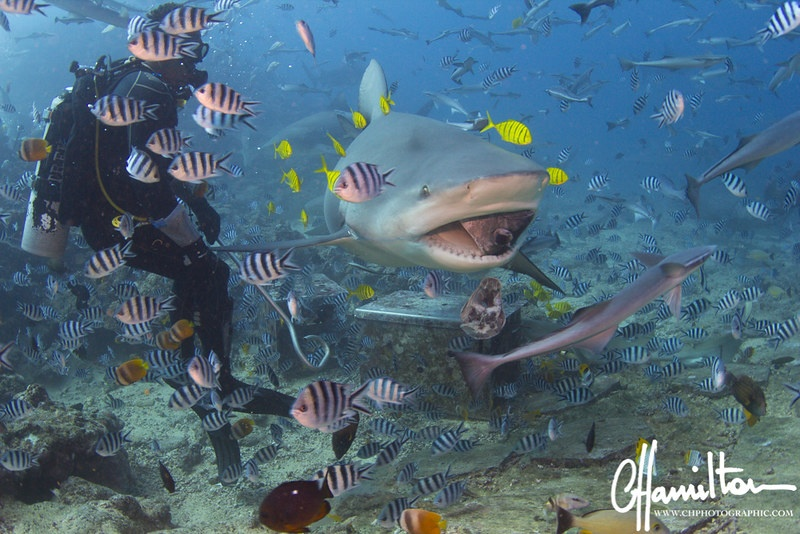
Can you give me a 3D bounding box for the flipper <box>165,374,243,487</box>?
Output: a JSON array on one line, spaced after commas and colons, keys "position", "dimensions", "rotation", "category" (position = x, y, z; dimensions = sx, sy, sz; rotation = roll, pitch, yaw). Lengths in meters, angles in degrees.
[{"position": [-3.976, 3.415, 14.350], "dimensions": [0.538, 3.001, 0.567], "rotation": [-37, -4, 6], "category": "flipper"}]
